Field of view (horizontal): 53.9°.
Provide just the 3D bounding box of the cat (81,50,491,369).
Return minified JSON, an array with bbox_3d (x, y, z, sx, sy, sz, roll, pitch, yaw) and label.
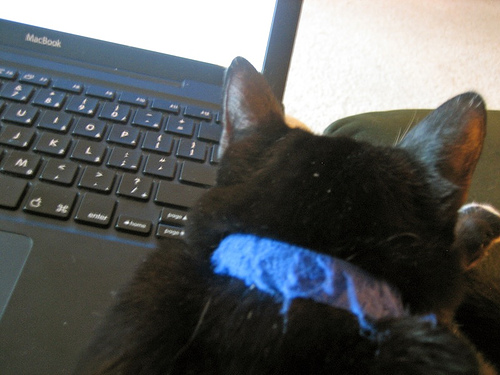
[{"bbox_3d":[0.070,0.091,0.638,0.343,0.486,0.221,13,-24,11],"label":"cat"}]
